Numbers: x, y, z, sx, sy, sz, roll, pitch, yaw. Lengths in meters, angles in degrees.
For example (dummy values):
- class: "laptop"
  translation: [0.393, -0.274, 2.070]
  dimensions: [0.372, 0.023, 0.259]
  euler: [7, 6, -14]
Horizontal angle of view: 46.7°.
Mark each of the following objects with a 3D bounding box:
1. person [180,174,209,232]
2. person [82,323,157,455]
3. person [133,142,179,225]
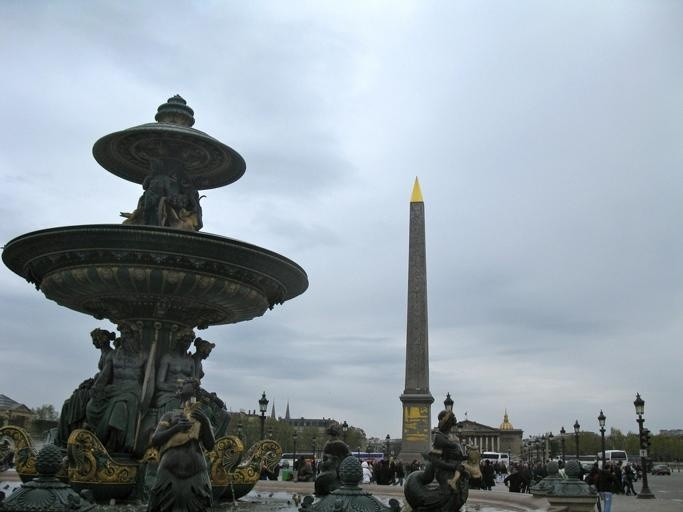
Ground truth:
- class: "person"
  translation: [-2.973, -1.005, 15.715]
  dimensions: [0.457, 1.310, 0.844]
  euler: [3, -19, -2]
- class: "person"
  translation: [-3.767, 2.289, 13.528]
  dimensions: [1.041, 2.218, 0.470]
  euler: [8, -20, -16]
- class: "person"
  translation: [-3.636, -1.293, 15.237]
  dimensions: [0.505, 1.089, 0.501]
  euler: [-15, 17, 7]
